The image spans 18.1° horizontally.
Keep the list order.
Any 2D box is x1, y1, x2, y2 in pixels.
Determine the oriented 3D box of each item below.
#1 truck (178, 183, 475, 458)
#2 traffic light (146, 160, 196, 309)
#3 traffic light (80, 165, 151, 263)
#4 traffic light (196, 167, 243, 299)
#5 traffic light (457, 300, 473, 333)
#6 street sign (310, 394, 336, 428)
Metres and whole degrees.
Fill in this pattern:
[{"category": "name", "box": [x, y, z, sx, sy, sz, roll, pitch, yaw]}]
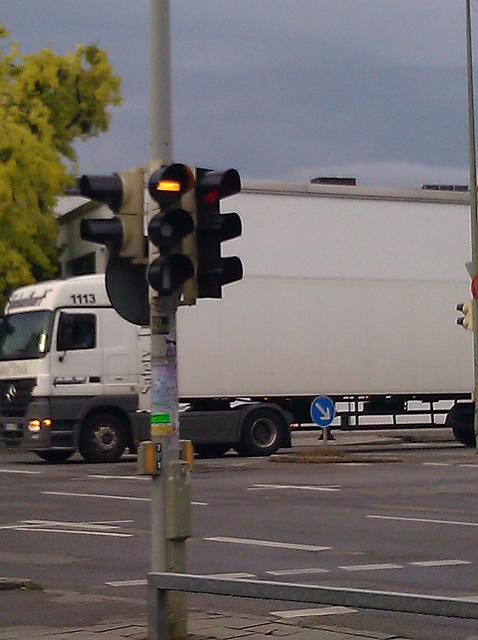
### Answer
[{"category": "truck", "box": [1.326, 0.038, 23.951, 4.198, 4.161, 1.540, 1, -4, -25]}, {"category": "traffic light", "box": [-0.435, -0.546, 9.382, 0.315, 0.946, 0.381, 1, -1, -3]}, {"category": "traffic light", "box": [-0.789, -0.685, 9.516, 0.432, 0.615, 0.379, 1, -2, -7]}, {"category": "traffic light", "box": [-0.136, -0.560, 9.598, 0.294, 0.827, 0.334, 1, -1, 0]}, {"category": "traffic light", "box": [3.658, -0.086, 24.682, 0.234, 0.518, 1.087, 1, -2, 8]}, {"category": "street sign", "box": [1.319, 1.460, 24.277, 0.531, 0.667, 0.086, 0, 9, 1]}]
